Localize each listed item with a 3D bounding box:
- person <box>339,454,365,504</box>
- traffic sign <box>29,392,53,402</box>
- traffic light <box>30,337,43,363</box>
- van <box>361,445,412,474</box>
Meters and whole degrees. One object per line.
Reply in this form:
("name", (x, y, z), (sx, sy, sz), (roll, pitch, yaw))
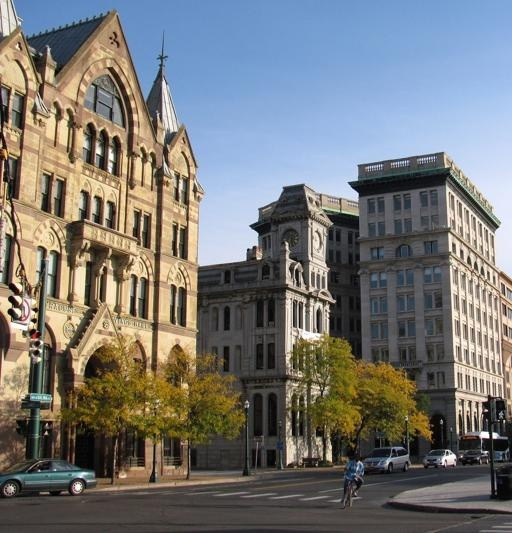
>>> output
("person", (3.202, 7.041, 24.696), (0.604, 1.653, 1.598), (9, -2, 19))
("traffic sign", (-7.477, 4.557, 25.681), (0.453, 0.340, 0.901), (-5, -18, 18))
("traffic light", (-7.406, 2.842, 25.053), (0.413, 0.829, 1.613), (6, -18, -18))
("van", (8.838, 13.321, 51.490), (1.723, 1.557, 4.045), (-13, -25, 28))
